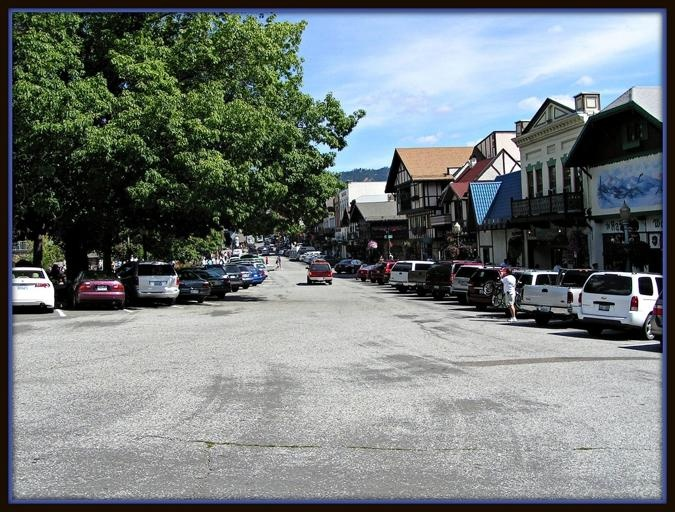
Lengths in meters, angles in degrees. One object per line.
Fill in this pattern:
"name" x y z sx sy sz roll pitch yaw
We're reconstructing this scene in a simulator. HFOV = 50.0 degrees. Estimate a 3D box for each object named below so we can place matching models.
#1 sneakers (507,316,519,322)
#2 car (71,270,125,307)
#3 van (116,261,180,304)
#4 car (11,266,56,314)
"sneakers" 5.602 2.058 23.285 0.470 0.216 0.164 1 3 33
"car" -9.142 1.271 27.575 1.689 1.349 2.337 -1 2 -28
"van" -8.008 1.105 30.839 1.506 1.305 3.143 0 3 -19
"car" -10.483 1.191 24.794 1.388 1.148 3.368 0 1 -13
